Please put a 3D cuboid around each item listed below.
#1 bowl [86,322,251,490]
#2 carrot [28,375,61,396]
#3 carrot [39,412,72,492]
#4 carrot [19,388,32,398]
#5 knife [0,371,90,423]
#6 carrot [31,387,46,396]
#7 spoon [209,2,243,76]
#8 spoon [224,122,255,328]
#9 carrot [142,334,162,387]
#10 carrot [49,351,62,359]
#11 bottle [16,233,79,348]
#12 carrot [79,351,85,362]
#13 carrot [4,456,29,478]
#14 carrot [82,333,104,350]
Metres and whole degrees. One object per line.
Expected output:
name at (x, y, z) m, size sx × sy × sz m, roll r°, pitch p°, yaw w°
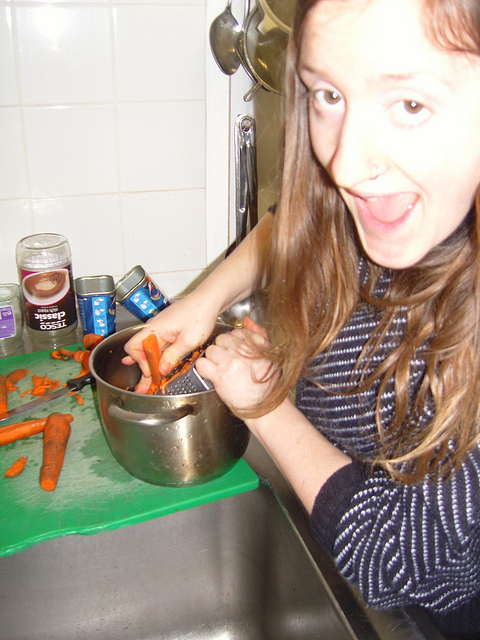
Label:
bowl at (-0.085, 0.144, 0.662) m, size 0.188 × 0.143 × 0.215 m, roll -12°, pitch 35°, yaw -12°
carrot at (-0.344, 0.112, 0.854) m, size 0.030 × 0.016 × 0.035 m, roll -15°, pitch 26°, yaw 8°
carrot at (-0.256, 0.179, 0.682) m, size 0.034 × 0.034 × 0.127 m, roll 14°, pitch 31°, yaw -23°
carrot at (-0.363, 0.125, 0.843) m, size 0.009 × 0.016 × 0.008 m, roll 34°, pitch 12°, yaw -22°
knife at (-0.319, 0.129, 0.812) m, size 0.018 × 0.025 × 0.164 m, roll -27°, pitch 3°, yaw 43°
carrot at (-0.342, 0.122, 0.842) m, size 0.024 × 0.007 × 0.016 m, roll -2°, pitch 26°, yaw 2°
spoon at (-0.024, -0.495, 0.904) m, size 0.065 × 0.127 × 0.020 m, roll 43°, pitch 65°, yaw 10°
spoon at (-0.029, -0.173, 0.952) m, size 0.063 × 0.343 × 0.095 m, roll -10°, pitch 34°, yaw -21°
carrot at (-0.117, 0.055, 0.667) m, size 0.019 × 0.074 × 0.035 m, roll -7°, pitch 25°, yaw -10°
carrot at (-0.351, 0.067, 0.943) m, size 0.015 × 0.013 × 0.008 m, roll 17°, pitch -17°, yaw 2°
bottle at (-0.395, -0.056, 1.014) m, size 0.096 × 0.242 × 0.100 m, roll 6°, pitch 36°, yaw -5°
carrot at (-0.300, 0.069, 0.940) m, size 0.010 × 0.014 × 0.018 m, roll -11°, pitch 27°, yaw -18°
carrot at (-0.305, 0.198, 0.675) m, size 0.021 × 0.012 × 0.043 m, roll -4°, pitch 26°, yaw -4°
carrot at (-0.263, 0.039, 0.891) m, size 0.023 × 0.010 × 0.018 m, roll -40°, pitch 41°, yaw -18°
